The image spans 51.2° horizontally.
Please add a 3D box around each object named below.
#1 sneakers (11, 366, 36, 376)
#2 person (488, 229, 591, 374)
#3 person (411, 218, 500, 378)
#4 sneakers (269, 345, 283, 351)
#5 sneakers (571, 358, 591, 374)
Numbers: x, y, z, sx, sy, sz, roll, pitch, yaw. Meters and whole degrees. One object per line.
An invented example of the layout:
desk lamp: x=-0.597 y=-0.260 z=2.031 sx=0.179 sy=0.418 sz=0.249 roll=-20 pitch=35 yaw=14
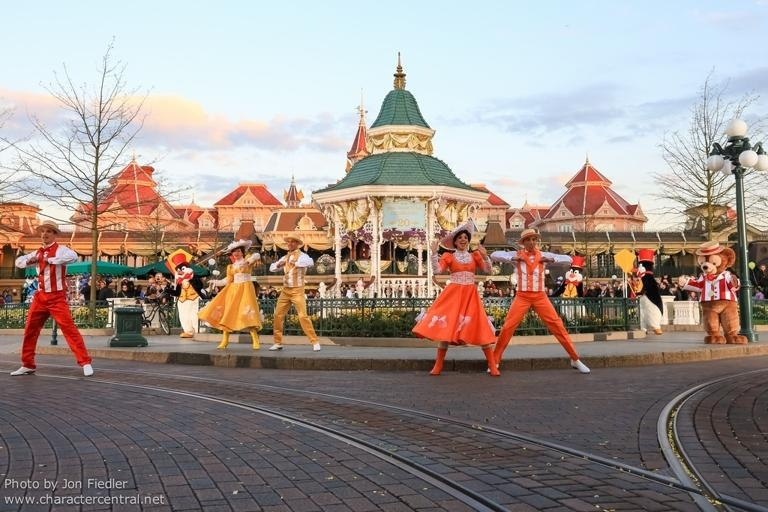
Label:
sneakers: x=-6.040 y=1.920 z=13.391 sx=0.446 sy=0.160 sz=0.156 roll=5 pitch=-5 yaw=-21
person: x=2.637 y=0.778 z=14.089 sx=1.545 sy=2.483 sz=1.177 roll=-1 pitch=1 yaw=-1
person: x=1.241 y=0.744 z=13.616 sx=1.386 sy=2.588 sz=0.876 roll=-1 pitch=1 yaw=3
sneakers: x=-2.240 y=1.917 z=16.727 sx=0.299 sy=0.104 sz=0.104 roll=2 pitch=-5 yaw=-2
sneakers: x=3.453 y=1.908 z=13.988 sx=0.171 sy=0.165 sz=0.432 roll=-13 pitch=9 yaw=-24
